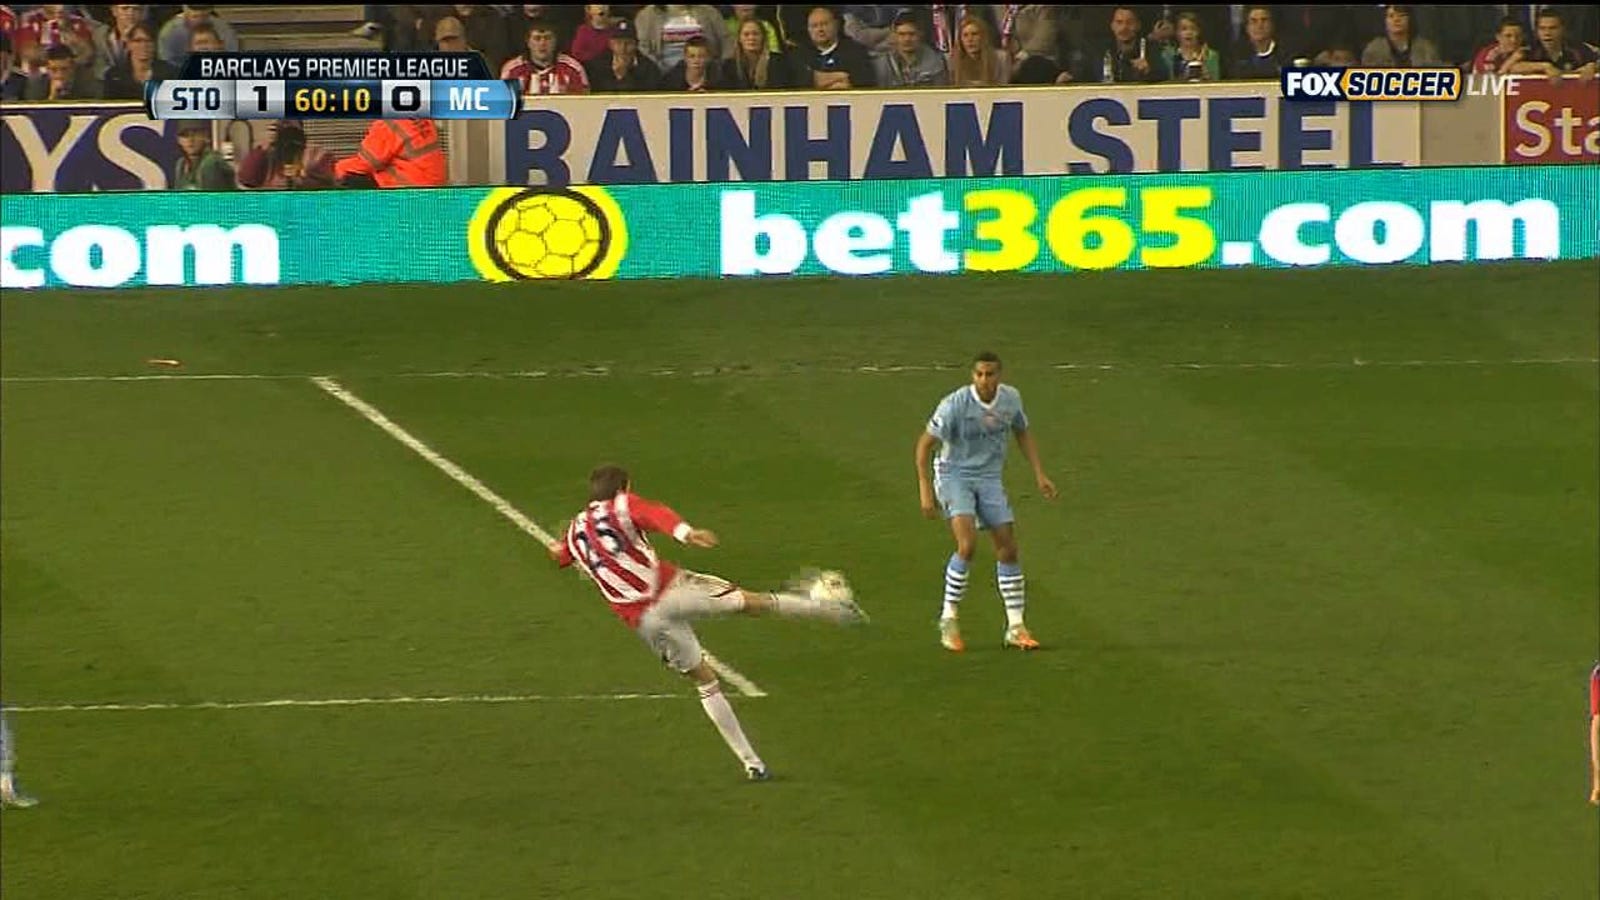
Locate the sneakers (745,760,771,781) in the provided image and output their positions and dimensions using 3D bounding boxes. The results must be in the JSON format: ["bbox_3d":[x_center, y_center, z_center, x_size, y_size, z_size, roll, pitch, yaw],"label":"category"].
[{"bbox_3d":[-0.588,4.166,43.012,0.297,0.100,0.369,1,6,-5],"label":"sneakers"}]

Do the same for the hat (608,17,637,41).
[{"bbox_3d":[-2.851,-6.602,52.834,0.456,0.223,0.607,-1,4,-4],"label":"hat"}]

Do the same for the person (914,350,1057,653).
[{"bbox_3d":[2.307,0.725,44.130,1.440,3.945,1.042,-3,19,2],"label":"person"}]

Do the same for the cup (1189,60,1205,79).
[{"bbox_3d":[6.241,-5.926,52.455,0.286,0.258,0.262,0,-3,0],"label":"cup"}]

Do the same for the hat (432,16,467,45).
[{"bbox_3d":[-5.619,-6.589,53.005,0.431,0.270,0.538,-1,-5,-5],"label":"hat"}]
